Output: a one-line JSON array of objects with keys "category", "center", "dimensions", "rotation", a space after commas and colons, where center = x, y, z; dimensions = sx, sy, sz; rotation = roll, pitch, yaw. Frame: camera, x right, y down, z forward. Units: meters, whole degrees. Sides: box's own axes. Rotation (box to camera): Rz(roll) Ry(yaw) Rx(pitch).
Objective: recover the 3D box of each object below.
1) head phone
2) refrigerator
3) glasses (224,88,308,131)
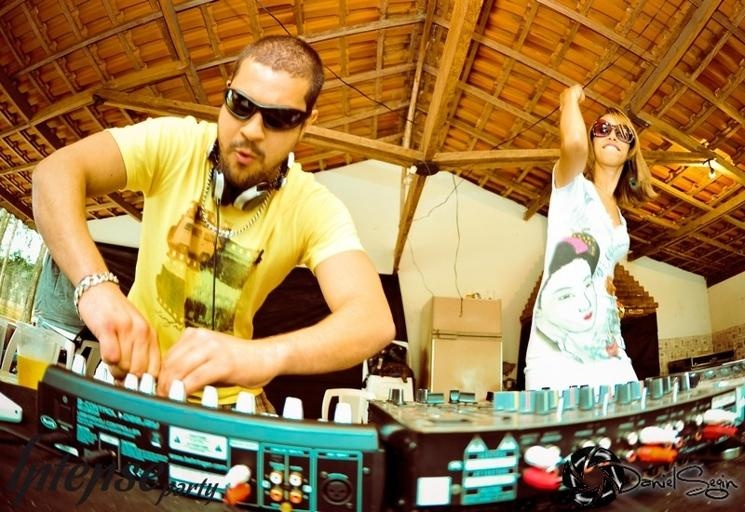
[{"category": "head phone", "center": [-0.292, -0.196, 1.088], "dimensions": [0.185, 0.076, 0.221], "rotation": [14, -33, -17]}, {"category": "refrigerator", "center": [1.300, 1.214, 6.412], "dimensions": [0.984, 1.187, 0.704], "rotation": [6, 7, 0]}, {"category": "glasses", "center": [-0.246, -0.360, 1.095], "dimensions": [0.186, 0.189, 0.051], "rotation": [25, -62, 0]}]
